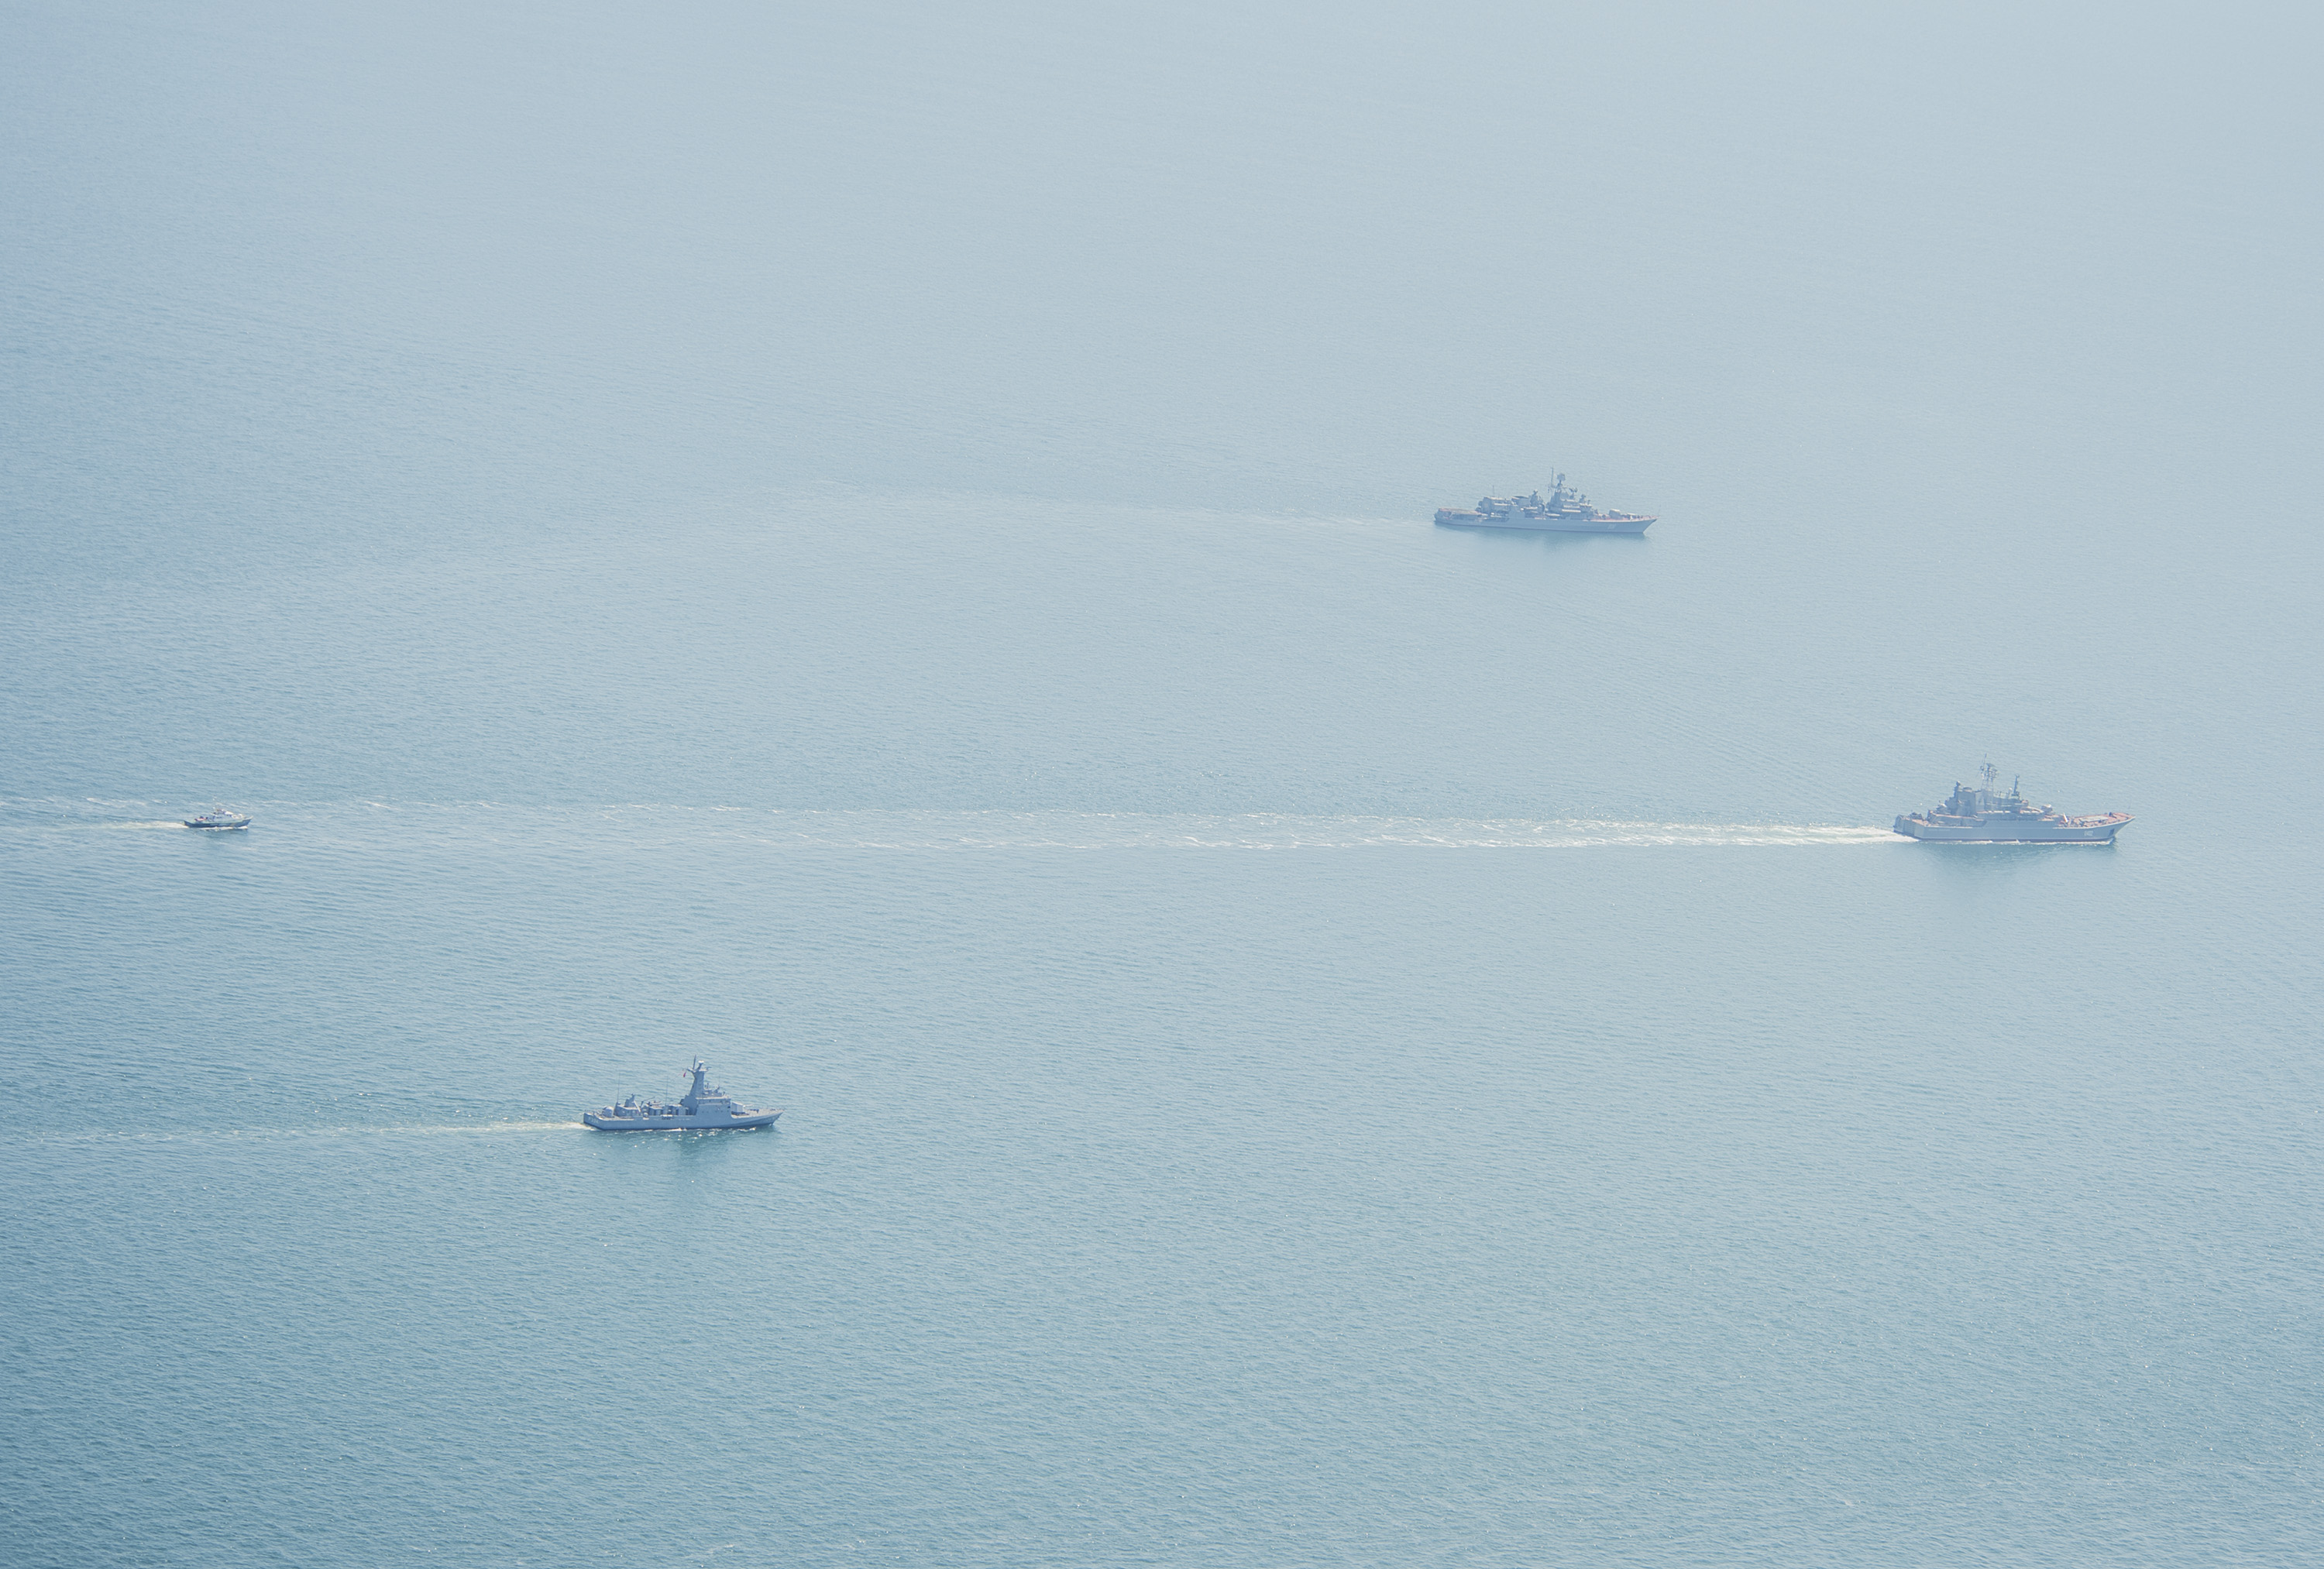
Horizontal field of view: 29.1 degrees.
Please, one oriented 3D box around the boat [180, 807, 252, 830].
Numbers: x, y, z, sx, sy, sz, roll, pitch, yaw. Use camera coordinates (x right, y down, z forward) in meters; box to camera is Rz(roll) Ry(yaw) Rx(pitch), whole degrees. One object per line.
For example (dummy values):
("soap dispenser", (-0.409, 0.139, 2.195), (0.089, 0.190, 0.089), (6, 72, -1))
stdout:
("boat", (-8.523, 0.329, 40.466), (0.455, 0.197, 0.120), (-2, -81, 0))
